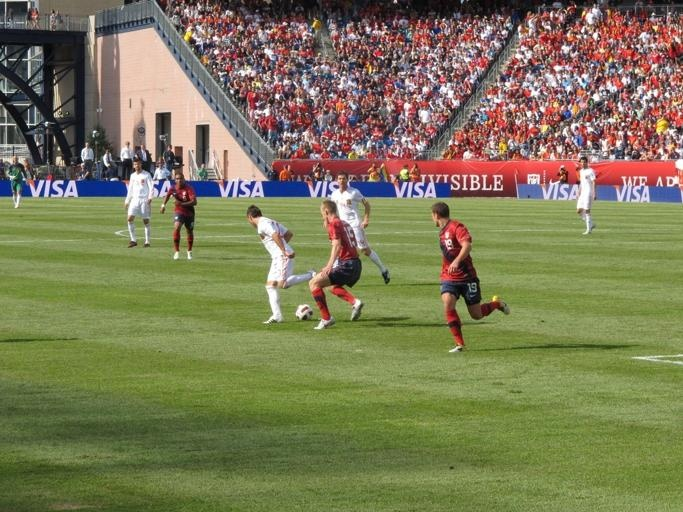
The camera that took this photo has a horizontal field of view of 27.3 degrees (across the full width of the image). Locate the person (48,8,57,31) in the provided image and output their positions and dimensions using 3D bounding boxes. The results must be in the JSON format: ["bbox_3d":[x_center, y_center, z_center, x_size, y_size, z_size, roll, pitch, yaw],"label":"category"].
[{"bbox_3d":[-15.127,-12.252,73.259,0.410,0.875,0.561,-2,5,-11],"label":"person"}]

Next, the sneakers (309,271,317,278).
[{"bbox_3d":[-0.497,0.315,23.258,0.118,0.089,0.162,-9,-2,5],"label":"sneakers"}]

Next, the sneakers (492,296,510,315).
[{"bbox_3d":[2.558,0.815,22.654,0.129,0.360,0.151,-40,2,-43],"label":"sneakers"}]

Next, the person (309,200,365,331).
[{"bbox_3d":[-0.102,0.099,23.039,0.856,2.048,1.561,0,5,1],"label":"person"}]

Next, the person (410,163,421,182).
[{"bbox_3d":[3.241,-3.713,62.701,0.462,0.807,0.835,0,5,8],"label":"person"}]

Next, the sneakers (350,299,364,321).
[{"bbox_3d":[0.246,0.902,23.124,0.201,0.406,0.146,-4,31,-12],"label":"sneakers"}]

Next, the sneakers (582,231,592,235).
[{"bbox_3d":[6.576,-0.607,37.741,0.227,0.142,0.081,5,2,29],"label":"sneakers"}]

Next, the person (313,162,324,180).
[{"bbox_3d":[-1.085,-3.730,62.312,0.402,1.110,0.413,13,26,22],"label":"person"}]

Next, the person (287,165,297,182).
[{"bbox_3d":[-2.274,-3.674,63.065,0.640,0.710,0.636,1,9,-2],"label":"person"}]

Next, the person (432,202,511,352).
[{"bbox_3d":[1.763,0.314,20.996,0.664,2.236,1.025,2,6,25],"label":"person"}]

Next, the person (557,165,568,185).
[{"bbox_3d":[9.369,-3.435,59.623,0.391,0.769,0.771,0,5,11],"label":"person"}]

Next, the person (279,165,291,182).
[{"bbox_3d":[-2.564,-3.709,62.805,0.515,0.629,0.935,-1,5,-6],"label":"person"}]

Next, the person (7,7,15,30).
[{"bbox_3d":[-16.984,-12.046,71.572,0.438,1.010,2.469,-2,6,-13],"label":"person"}]

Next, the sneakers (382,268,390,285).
[{"bbox_3d":[0.819,0.406,27.130,0.098,0.295,0.131,5,19,38],"label":"sneakers"}]

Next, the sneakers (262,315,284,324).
[{"bbox_3d":[-1.147,1.055,22.974,0.339,0.135,0.116,1,-1,2],"label":"sneakers"}]

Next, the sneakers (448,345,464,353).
[{"bbox_3d":[1.688,1.390,21.035,0.239,0.103,0.090,1,0,23],"label":"sneakers"}]
